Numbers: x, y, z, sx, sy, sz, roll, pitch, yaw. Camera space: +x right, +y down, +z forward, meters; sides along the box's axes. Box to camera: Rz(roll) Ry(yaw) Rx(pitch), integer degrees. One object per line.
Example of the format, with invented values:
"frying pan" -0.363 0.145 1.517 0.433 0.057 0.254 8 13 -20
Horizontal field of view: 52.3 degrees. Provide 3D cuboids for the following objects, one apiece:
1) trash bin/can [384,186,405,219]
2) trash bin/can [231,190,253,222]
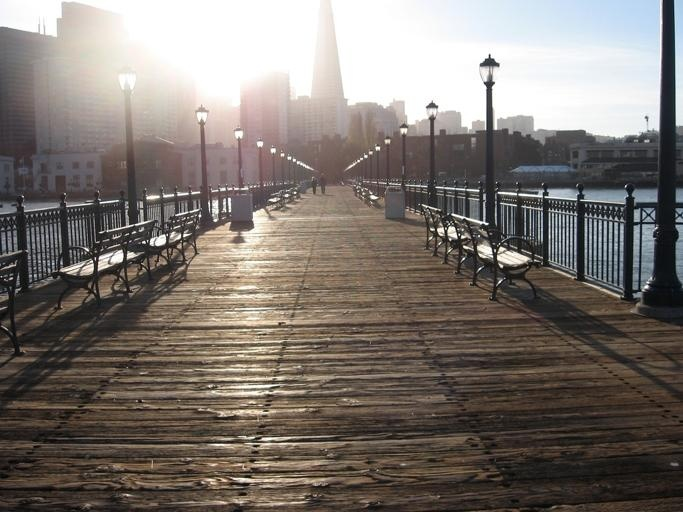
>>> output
"trash bin/can" 2.114 -2.012 27.426 0.718 0.963 1.399 -1 9 1
"trash bin/can" -3.803 -1.850 26.727 0.791 1.006 1.073 -3 9 -12
